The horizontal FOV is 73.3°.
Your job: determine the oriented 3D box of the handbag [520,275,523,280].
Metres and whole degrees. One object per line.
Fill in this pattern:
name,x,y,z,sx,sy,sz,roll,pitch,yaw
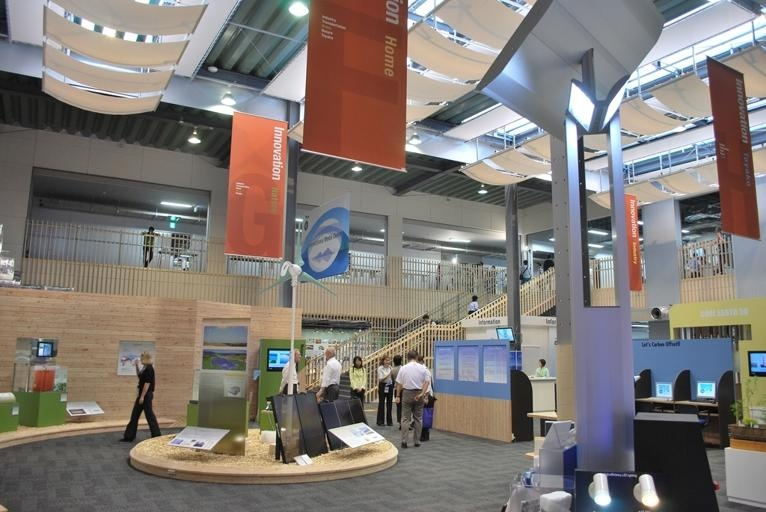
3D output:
handbag,5.562,0.806,20.432,0.155,0.147,0.037,-2,-6,29

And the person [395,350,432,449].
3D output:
person,0.581,2.683,9.830,0.637,1.762,0.748,1,-9,2

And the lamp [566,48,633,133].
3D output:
lamp,1.736,-1.295,4.125,0.687,0.534,0.311,9,-12,-39

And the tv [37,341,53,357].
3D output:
tv,-7.196,1.943,10.900,0.157,0.297,0.310,-11,-15,32

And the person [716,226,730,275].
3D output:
person,10.016,-0.177,15.081,0.326,1.350,0.509,-3,-10,24

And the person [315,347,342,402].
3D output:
person,-1.128,2.467,10.860,0.446,1.108,1.745,2,-9,-5

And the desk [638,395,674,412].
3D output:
desk,5.825,3.136,10.963,0.704,0.290,0.616,-4,-10,30

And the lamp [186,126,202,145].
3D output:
lamp,-5.978,-3.826,16.190,0.379,0.439,0.415,5,-24,-3

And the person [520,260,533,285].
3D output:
person,5.745,0.690,20.512,0.434,0.816,0.906,-1,-9,15

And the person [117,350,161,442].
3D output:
person,-4.430,2.591,9.545,0.500,1.646,0.742,8,-12,-37

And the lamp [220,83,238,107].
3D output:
lamp,-4.197,-4.372,14.034,0.433,0.468,0.441,-13,-23,38

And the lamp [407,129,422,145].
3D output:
lamp,1.031,-3.746,16.138,0.418,0.455,0.423,3,-10,3

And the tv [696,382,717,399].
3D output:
tv,6.580,2.690,10.386,0.164,0.298,0.317,13,-14,-32

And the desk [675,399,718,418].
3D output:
desk,6.322,3.020,10.359,0.731,0.307,0.571,-3,-10,27

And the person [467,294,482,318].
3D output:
person,3.681,1.936,20.800,0.442,0.944,1.917,0,-9,9
